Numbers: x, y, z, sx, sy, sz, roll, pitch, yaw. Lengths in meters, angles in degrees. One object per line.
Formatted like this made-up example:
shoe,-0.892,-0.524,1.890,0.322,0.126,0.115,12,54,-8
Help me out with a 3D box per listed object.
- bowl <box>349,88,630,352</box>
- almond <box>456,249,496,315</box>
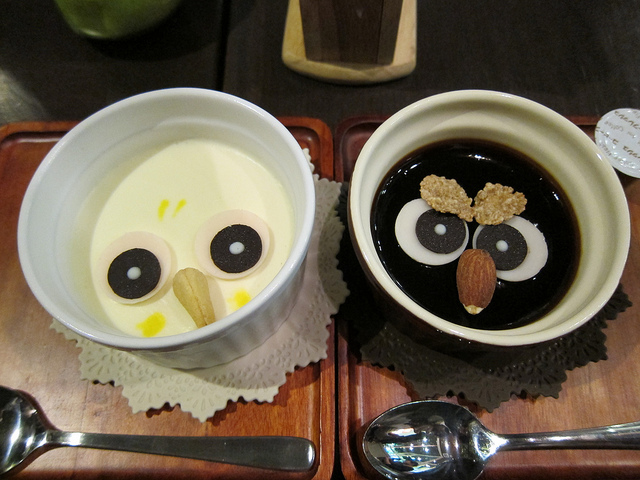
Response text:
bowl,0.273,-0.035,1.011,0.453,0.117,0.433,-1,77,3
almond,0.273,0.068,1.030,0.060,0.061,0.108,-2,89,-40
